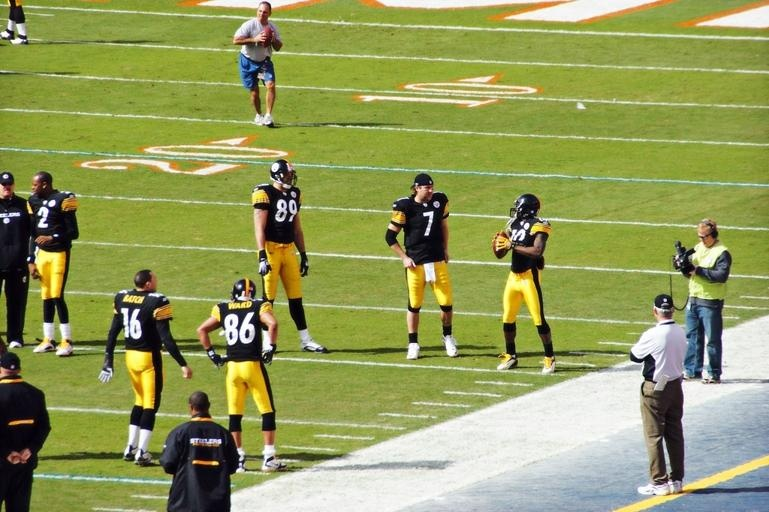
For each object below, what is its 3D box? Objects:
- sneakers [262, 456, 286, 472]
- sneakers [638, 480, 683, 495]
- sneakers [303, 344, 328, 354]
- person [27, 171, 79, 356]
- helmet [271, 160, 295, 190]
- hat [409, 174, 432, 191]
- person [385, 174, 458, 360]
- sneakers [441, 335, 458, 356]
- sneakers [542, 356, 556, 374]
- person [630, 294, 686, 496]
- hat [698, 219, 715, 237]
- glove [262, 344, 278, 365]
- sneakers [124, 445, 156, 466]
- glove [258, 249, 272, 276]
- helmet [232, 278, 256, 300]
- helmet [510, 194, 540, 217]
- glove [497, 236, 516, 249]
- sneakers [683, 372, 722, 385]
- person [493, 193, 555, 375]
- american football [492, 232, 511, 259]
[{"bbox_3d":[-1.697,3.153,28.043,0.455,0.153,0.249,-4,-27,-10],"label":"sneakers"},{"bbox_3d":[4.039,3.413,27.475,0.572,0.178,0.234,0,1,7],"label":"sneakers"},{"bbox_3d":[-1.223,1.599,31.938,0.480,0.142,0.164,0,5,18],"label":"sneakers"},{"bbox_3d":[-5.714,0.131,31.890,0.819,3.208,1.296,1,-18,-10],"label":"person"},{"bbox_3d":[-1.748,-1.367,31.619,0.375,0.479,0.265,2,-18,-14],"label":"helmet"},{"bbox_3d":[0.687,-1.219,31.790,0.318,0.268,0.365,-7,23,-20],"label":"hat"},{"bbox_3d":[0.593,0.193,31.720,1.016,3.090,1.135,-4,-18,5],"label":"person"},{"bbox_3d":[1.086,1.569,31.776,0.186,0.415,0.181,-16,-32,-17],"label":"sneakers"},{"bbox_3d":[2.684,1.816,31.041,0.153,0.363,0.156,3,-45,23],"label":"sneakers"},{"bbox_3d":[4.049,2.063,27.583,0.861,2.923,0.874,-4,-18,5],"label":"person"},{"bbox_3d":[5.266,-0.448,30.598,0.271,0.380,0.442,-6,-16,12],"label":"hat"},{"bbox_3d":[-1.770,1.500,28.275,0.234,0.295,0.147,24,-5,33],"label":"glove"},{"bbox_3d":[-3.749,3.056,28.300,0.264,0.191,0.482,6,-3,24],"label":"sneakers"},{"bbox_3d":[-2.040,0.117,31.315,0.172,0.422,0.251,-1,-17,-4],"label":"glove"},{"bbox_3d":[-2.129,0.523,28.381,0.331,0.274,0.385,2,4,-22],"label":"helmet"},{"bbox_3d":[2.287,-0.817,31.169,0.563,0.327,0.391,6,7,27],"label":"helmet"},{"bbox_3d":[1.957,-0.194,30.973,0.197,0.169,0.258,36,22,27],"label":"glove"},{"bbox_3d":[5.185,2.015,30.620,0.570,0.165,0.184,-2,0,22],"label":"sneakers"},{"bbox_3d":[2.268,0.491,31.119,0.999,2.959,1.263,-3,-18,2],"label":"person"},{"bbox_3d":[2.005,-0.129,31.098,0.198,0.386,0.331,7,15,-41],"label":"american football"}]
